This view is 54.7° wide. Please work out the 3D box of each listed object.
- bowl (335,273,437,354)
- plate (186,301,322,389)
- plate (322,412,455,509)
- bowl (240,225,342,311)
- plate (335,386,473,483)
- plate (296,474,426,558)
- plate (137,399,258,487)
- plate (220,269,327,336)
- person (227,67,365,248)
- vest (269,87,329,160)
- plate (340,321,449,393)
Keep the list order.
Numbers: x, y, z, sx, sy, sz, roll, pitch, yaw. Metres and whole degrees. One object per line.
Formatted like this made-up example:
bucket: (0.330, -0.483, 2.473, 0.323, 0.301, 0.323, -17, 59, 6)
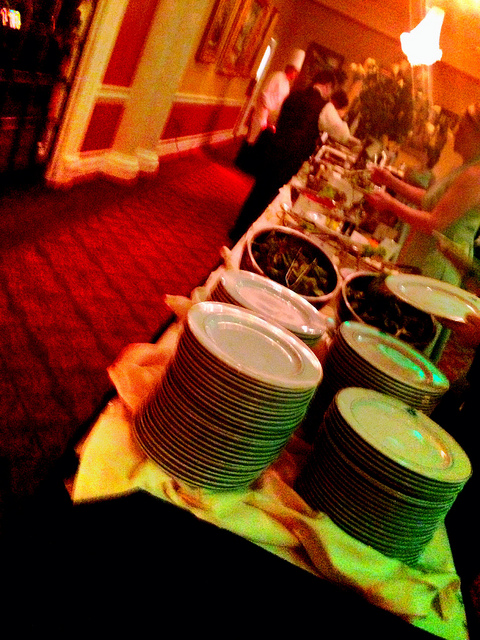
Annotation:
bowl: (0.374, -0.053, 1.203, 0.182, 0.086, 0.219, 19, 32, -21)
plate: (0.015, 0.037, 0.723, 0.151, 0.029, 0.150, 7, 34, -45)
plate: (0.189, 0.219, 0.763, 0.193, 0.037, 0.212, 37, 6, -1)
bowl: (0.124, -0.173, 1.419, 0.303, 0.138, 0.298, 32, -11, 7)
plate: (0.257, 0.181, 0.754, 0.182, 0.039, 0.185, 29, 17, -17)
plate: (0.207, 0.301, 0.806, 0.151, 0.026, 0.153, 50, -26, -21)
plate: (-0.092, 0.187, 0.820, 0.274, 0.078, 0.283, 3, -2, -33)
plate: (0.074, -0.041, 0.995, 0.160, 0.035, 0.169, 14, 23, -51)
person: (0.501, -1.451, 4.308, 0.679, 1.693, 0.662, 17, 22, -21)
vest: (0.514, -1.708, 4.030, 0.378, 0.565, 0.234, 26, 21, -1)
plate: (0.323, 0.079, 0.994, 0.176, 0.061, 0.179, 39, 3, 21)
